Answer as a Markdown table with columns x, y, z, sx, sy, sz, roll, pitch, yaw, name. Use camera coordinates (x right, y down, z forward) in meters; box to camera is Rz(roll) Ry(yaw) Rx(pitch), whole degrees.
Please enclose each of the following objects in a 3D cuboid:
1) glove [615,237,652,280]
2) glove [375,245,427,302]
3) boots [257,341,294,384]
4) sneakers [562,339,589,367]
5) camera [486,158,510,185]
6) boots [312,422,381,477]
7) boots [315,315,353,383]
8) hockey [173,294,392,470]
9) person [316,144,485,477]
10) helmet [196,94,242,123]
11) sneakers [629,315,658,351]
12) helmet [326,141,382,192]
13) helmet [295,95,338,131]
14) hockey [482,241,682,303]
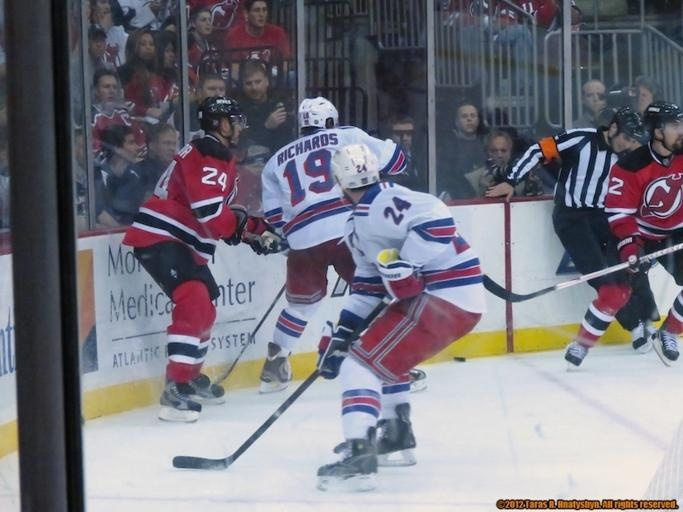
| x | y | z | sx | sy | sz | roll | pitch | yaw | name |
| --- | --- | --- | --- | --- | --- | --- | --- | --- | --- |
| 1.912 | 0.012 | 7.575 | 0.204 | 0.334 | 0.500 | 3 | 9 | 12 | glove |
| 0.297 | 0.065 | 6.042 | 0.266 | 0.274 | 0.214 | -19 | 17 | 7 | glove |
| -0.389 | 0.664 | 7.238 | 0.154 | 0.288 | 0.306 | 16 | 14 | 18 | boots |
| 1.548 | 0.655 | 7.608 | 0.085 | 0.238 | 0.098 | 37 | 15 | 25 | sneakers |
| 1.050 | -0.575 | 7.764 | 0.162 | 0.171 | 0.051 | 0 | -18 | 21 | camera |
| 0.023 | 1.054 | 6.026 | 0.360 | 0.263 | 0.121 | -10 | -15 | 26 | boots |
| -0.033 | 0.501 | 6.201 | 0.328 | 0.211 | 0.132 | -41 | -5 | -7 | boots |
| -0.375 | 0.736 | 6.726 | 0.071 | 1.230 | 0.200 | 38 | 9 | -27 | hockey |
| 0.292 | 0.318 | 6.087 | 0.848 | 1.788 | 0.489 | -1 | 9 | -10 | person |
| -0.739 | -0.894 | 6.863 | 0.192 | 0.156 | 0.198 | -16 | -29 | 13 | helmet |
| 2.051 | 0.531 | 7.763 | 0.129 | 0.103 | 0.308 | 45 | -13 | 15 | sneakers |
| 0.074 | -0.461 | 5.970 | 0.188 | 0.226 | 0.256 | -9 | 21 | -6 | helmet |
| -0.159 | -0.878 | 6.984 | 0.211 | 0.203 | 0.174 | -4 | 6 | -31 | helmet |
| 1.545 | 0.104 | 7.615 | 0.998 | 0.091 | 0.169 | -13 | 23 | -3 | hockey |
